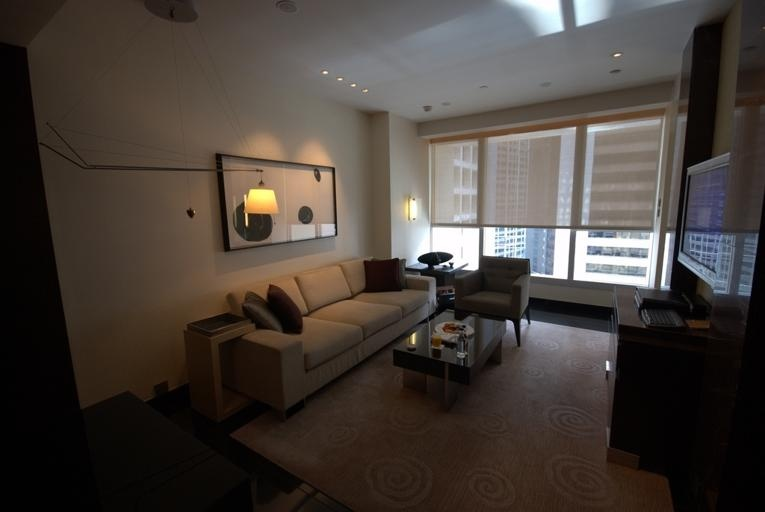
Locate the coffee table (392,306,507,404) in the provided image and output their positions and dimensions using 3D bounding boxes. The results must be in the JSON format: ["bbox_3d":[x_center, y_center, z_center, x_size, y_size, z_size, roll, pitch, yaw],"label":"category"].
[{"bbox_3d":[0.544,0.906,4.372,0.626,0.397,1.074,4,14,28],"label":"coffee table"}]

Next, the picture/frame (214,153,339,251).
[{"bbox_3d":[-1.090,-0.580,5.339,0.053,0.931,1.593,7,10,38],"label":"picture/frame"}]

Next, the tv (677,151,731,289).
[{"bbox_3d":[2.348,-0.293,3.590,0.197,0.864,1.032,2,9,27],"label":"tv"}]

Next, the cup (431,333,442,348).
[{"bbox_3d":[0.484,0.766,4.428,0.077,0.107,0.098,7,16,27],"label":"cup"}]

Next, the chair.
[{"bbox_3d":[1.345,0.442,5.858,0.909,1.017,0.979,3,7,27],"label":"chair"}]
